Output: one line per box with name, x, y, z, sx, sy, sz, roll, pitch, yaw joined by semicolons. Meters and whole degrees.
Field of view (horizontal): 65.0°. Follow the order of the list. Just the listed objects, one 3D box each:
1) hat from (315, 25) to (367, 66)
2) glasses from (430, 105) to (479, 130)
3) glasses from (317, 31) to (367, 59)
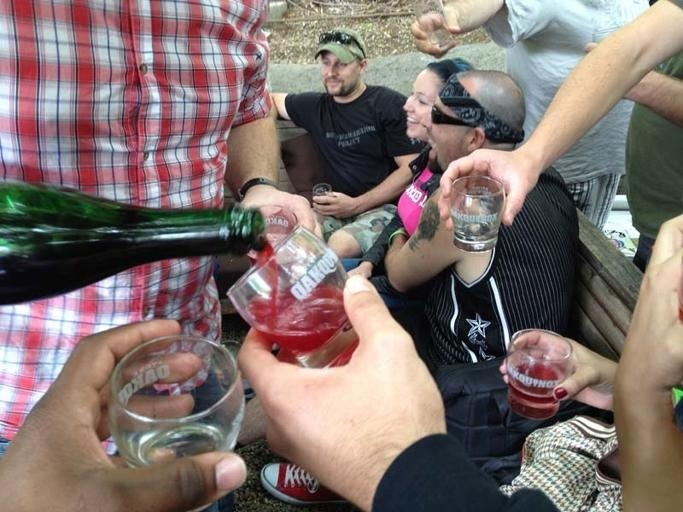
hat;0.014;-1.546;3.916;0.345;0.255;0.479;16;18;22
glasses;0.495;-0.620;2.445;0.131;0.036;0.130;7;24;-7
glasses;0.025;-1.486;3.846;0.233;0.175;0.328;10;8;21
